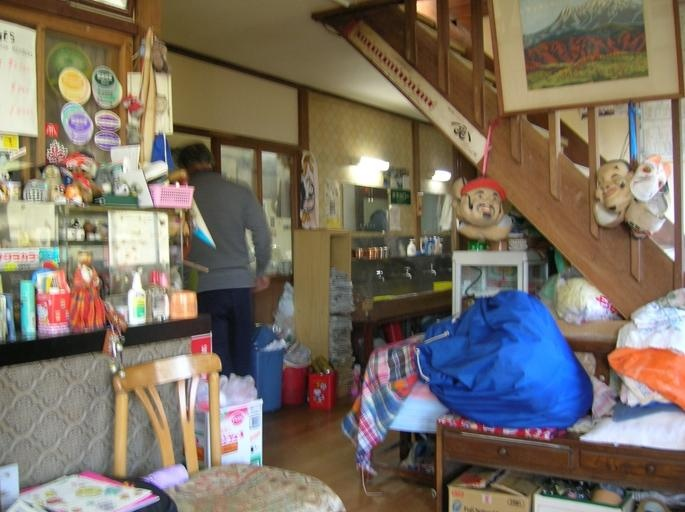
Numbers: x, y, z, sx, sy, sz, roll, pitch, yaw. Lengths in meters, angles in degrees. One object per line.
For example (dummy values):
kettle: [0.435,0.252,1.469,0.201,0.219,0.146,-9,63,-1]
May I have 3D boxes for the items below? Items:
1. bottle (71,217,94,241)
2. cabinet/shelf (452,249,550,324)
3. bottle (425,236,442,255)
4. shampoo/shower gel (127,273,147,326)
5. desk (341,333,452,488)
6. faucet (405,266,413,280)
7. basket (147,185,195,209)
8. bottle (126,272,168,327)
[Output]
bottle: [-1.346,-0.139,2.935,0.090,0.100,0.097,4,3,30]
cabinet/shelf: [1.257,0.150,4.573,0.695,0.786,0.516,0,-1,40]
bottle: [1.293,-0.129,8.101,0.104,0.353,0.230,-7,-8,44]
shampoo/shower gel: [-1.051,0.222,2.892,0.098,0.196,0.154,-5,3,-21]
desk: [0.312,0.894,3.735,0.611,0.996,0.285,10,-1,22]
faucet: [0.825,0.228,7.141,0.107,0.195,0.098,-1,-1,16]
basket: [-0.935,-0.308,3.127,0.167,0.103,0.131,-3,3,-32]
bottle: [-1.027,0.242,2.957,0.114,0.367,0.248,1,1,35]
